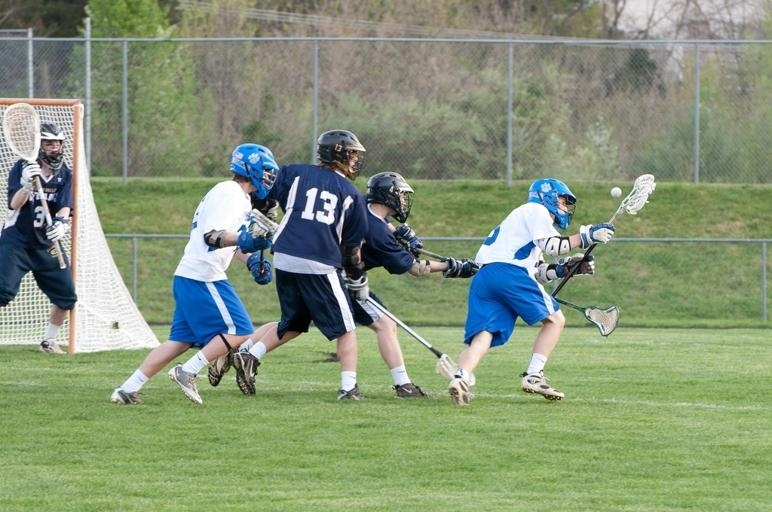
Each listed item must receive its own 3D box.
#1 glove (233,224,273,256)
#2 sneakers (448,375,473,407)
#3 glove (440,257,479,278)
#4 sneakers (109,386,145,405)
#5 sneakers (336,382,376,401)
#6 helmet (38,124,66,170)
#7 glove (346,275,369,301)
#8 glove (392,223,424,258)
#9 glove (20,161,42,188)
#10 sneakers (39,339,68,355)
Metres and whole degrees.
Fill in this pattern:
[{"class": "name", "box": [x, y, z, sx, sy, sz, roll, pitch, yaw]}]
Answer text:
[{"class": "glove", "box": [-1.576, -0.207, 15.341, 0.380, 0.297, 0.290, -21, 4, 9]}, {"class": "sneakers", "box": [0.917, 1.653, 15.873, 0.217, 0.425, 0.229, -20, 32, 22]}, {"class": "glove", "box": [0.973, 0.134, 16.618, 0.356, 0.125, 0.266, 8, -2, -41]}, {"class": "sneakers", "box": [-3.186, 1.684, 15.704, 0.308, 0.128, 0.182, 9, -5, -7]}, {"class": "sneakers", "box": [-0.394, 1.679, 16.071, 0.460, 0.180, 0.159, -1, 4, -33]}, {"class": "helmet", "box": [-4.655, -1.521, 17.840, 0.318, 0.648, 0.437, 0, 14, -5]}, {"class": "glove", "box": [-0.363, 0.390, 15.987, 0.331, 0.261, 0.251, 2, 11, 19]}, {"class": "glove", "box": [0.294, -0.204, 16.663, 0.428, 0.183, 0.314, 45, 3, -29]}, {"class": "glove", "box": [-4.849, -1.107, 17.474, 0.167, 0.346, 0.263, 18, 29, 0]}, {"class": "sneakers", "box": [-4.797, 1.266, 18.422, 0.483, 0.197, 0.160, 12, 16, -14]}]
